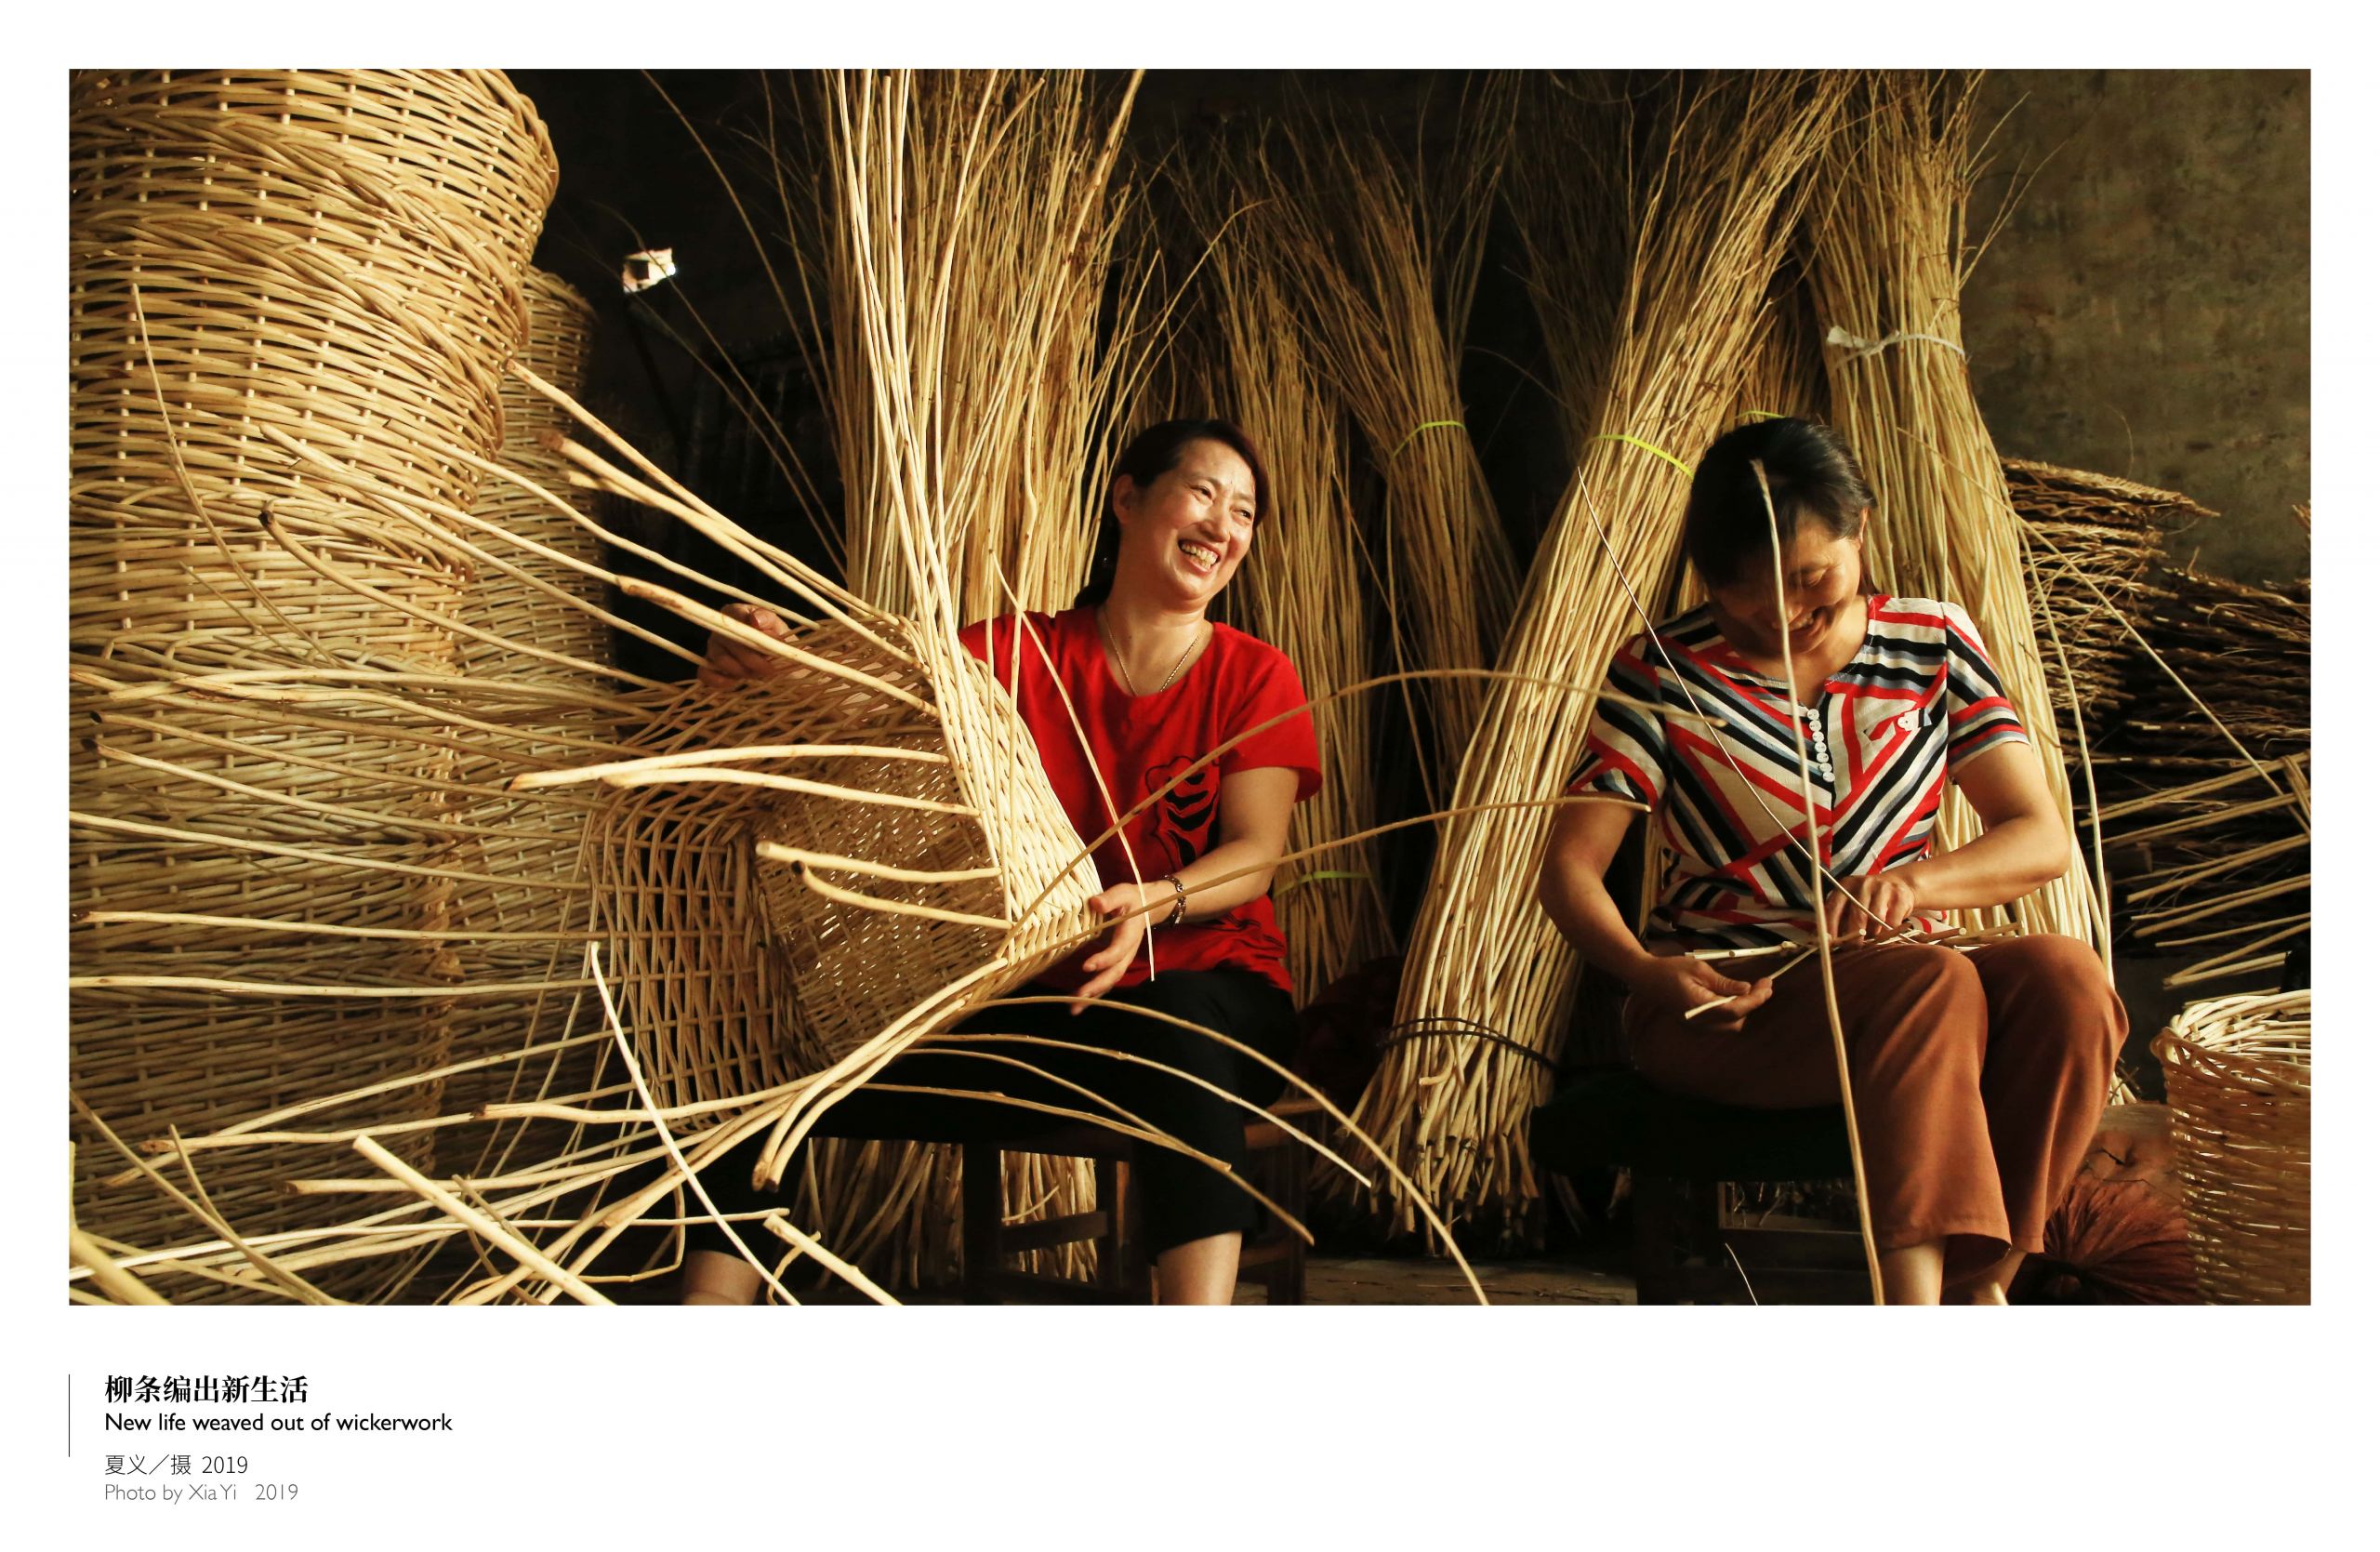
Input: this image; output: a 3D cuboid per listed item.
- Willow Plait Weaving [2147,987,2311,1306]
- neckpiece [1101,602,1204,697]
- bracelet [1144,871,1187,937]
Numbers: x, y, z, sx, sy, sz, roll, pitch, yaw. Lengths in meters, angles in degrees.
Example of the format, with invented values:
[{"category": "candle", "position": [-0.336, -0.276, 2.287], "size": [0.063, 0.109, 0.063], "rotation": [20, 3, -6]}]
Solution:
[{"category": "Willow Plait Weaving", "position": [1.430, 0.520, 2.700], "size": [0.185, 0.413, 0.372], "rotation": [2, 6, 26]}, {"category": "neckpiece", "position": [-0.045, -0.178, 2.813], "size": [0.132, 0.128, 0.036], "rotation": [3, -9, 2]}, {"category": "bracelet", "position": [-0.014, 0.169, 2.553], "size": [0.051, 0.064, 0.074], "rotation": [-2, 4, -44]}]
